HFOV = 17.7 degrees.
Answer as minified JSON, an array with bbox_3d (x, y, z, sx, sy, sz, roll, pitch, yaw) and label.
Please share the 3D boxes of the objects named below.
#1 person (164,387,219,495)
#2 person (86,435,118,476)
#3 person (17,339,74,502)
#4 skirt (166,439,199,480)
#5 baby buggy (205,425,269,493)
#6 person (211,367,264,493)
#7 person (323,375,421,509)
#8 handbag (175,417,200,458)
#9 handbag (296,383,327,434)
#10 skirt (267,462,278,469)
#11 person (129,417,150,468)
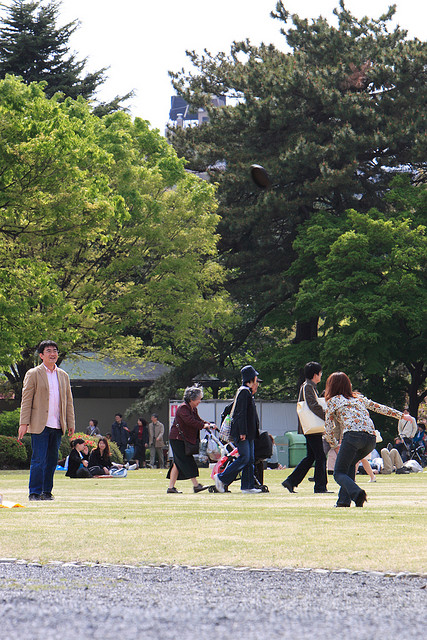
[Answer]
[{"bbox_3d":[-0.243,1.385,15.458,0.552,1.214,0.451,-2,-4,34],"label":"person"},{"bbox_3d":[-1.836,2.255,22.681,0.489,0.736,0.594,0,-3,34],"label":"person"},{"bbox_3d":[-1.720,1.046,14.153,0.559,1.674,0.710,2,-7,-6],"label":"person"},{"bbox_3d":[-0.320,1.587,15.560,0.377,0.547,0.452,-3,0,-19],"label":"skirt"},{"bbox_3d":[0.357,1.715,16.715,0.692,1.029,0.734,3,-3,-23],"label":"baby buggy"},{"bbox_3d":[0.308,1.268,15.593,0.576,1.401,1.666,1,-7,0],"label":"person"},{"bbox_3d":[1.347,1.163,12.903,0.581,1.240,0.878,-2,-7,24],"label":"person"},{"bbox_3d":[-0.297,1.309,15.287,0.164,0.433,0.326,-20,-15,5],"label":"handbag"},{"bbox_3d":[1.140,0.913,15.111,0.128,0.475,0.361,-23,-9,-3],"label":"handbag"},{"bbox_3d":[1.211,2.932,27.381,0.142,0.111,0.036,4,-12,26],"label":"skirt"},{"bbox_3d":[-1.553,2.643,29.498,0.361,1.070,1.064,2,-7,-3],"label":"person"}]
